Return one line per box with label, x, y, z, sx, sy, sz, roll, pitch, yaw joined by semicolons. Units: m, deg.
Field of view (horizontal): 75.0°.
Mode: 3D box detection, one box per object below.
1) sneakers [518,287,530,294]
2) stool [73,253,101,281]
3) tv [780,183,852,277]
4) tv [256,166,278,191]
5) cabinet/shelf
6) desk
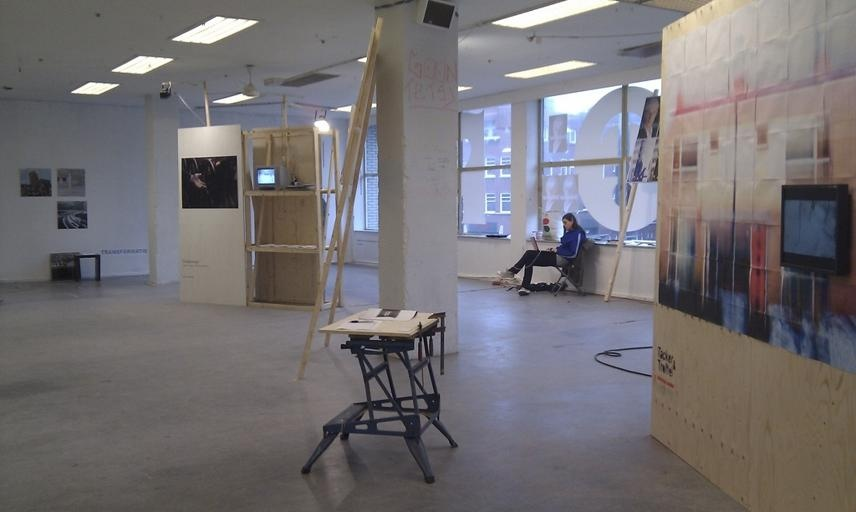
sneakers;1.939;0.707;11.360;0.215;0.103;0.376;4;10;21
stool;-8.434;0.270;13.770;0.724;0.797;0.567;0;0;-23
tv;2.611;-0.192;3.781;0.114;0.598;0.482;-5;11;-25
tv;-2.893;-1.390;9.895;0.570;0.369;0.160;8;13;40
cabinet/shelf;-2.626;-0.713;10.139;1.477;3.078;0.834;0;8;-6
desk;-0.413;1.196;5.054;1.422;1.182;1.363;-2;-1;40
